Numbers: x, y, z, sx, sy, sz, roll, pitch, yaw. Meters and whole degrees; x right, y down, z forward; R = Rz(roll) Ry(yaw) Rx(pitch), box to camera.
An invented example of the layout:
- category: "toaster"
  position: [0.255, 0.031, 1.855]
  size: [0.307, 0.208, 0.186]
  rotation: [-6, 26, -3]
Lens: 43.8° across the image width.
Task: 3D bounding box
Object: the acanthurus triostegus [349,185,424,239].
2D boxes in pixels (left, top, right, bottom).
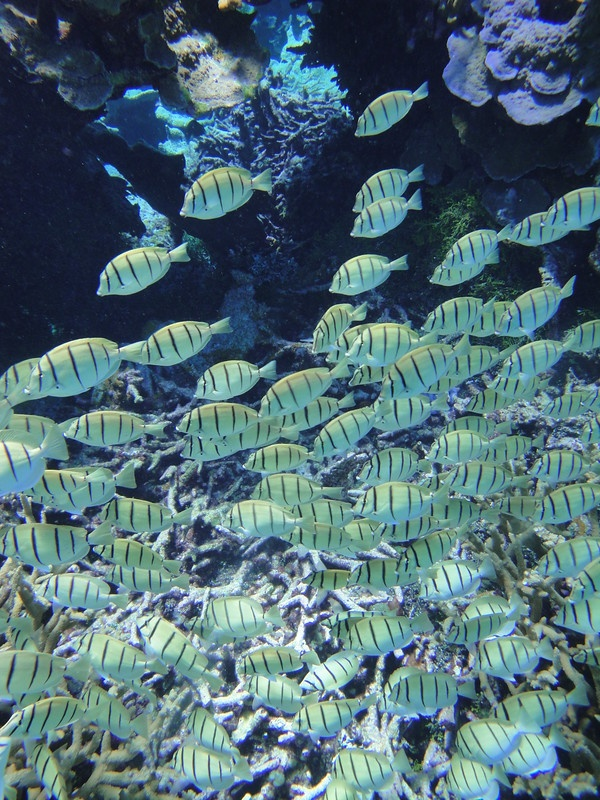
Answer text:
- category: "acanthurus triostegus"
  position: [0.752, -1.638, 6.532]
  size: [0.589, 0.390, 0.315]
  rotation: [0, 15, 1]

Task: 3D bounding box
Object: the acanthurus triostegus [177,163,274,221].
- category: "acanthurus triostegus"
  position: [-0.601, -1.699, 6.078]
  size: [0.757, 0.399, 0.302]
  rotation: [-3, 16, -13]
